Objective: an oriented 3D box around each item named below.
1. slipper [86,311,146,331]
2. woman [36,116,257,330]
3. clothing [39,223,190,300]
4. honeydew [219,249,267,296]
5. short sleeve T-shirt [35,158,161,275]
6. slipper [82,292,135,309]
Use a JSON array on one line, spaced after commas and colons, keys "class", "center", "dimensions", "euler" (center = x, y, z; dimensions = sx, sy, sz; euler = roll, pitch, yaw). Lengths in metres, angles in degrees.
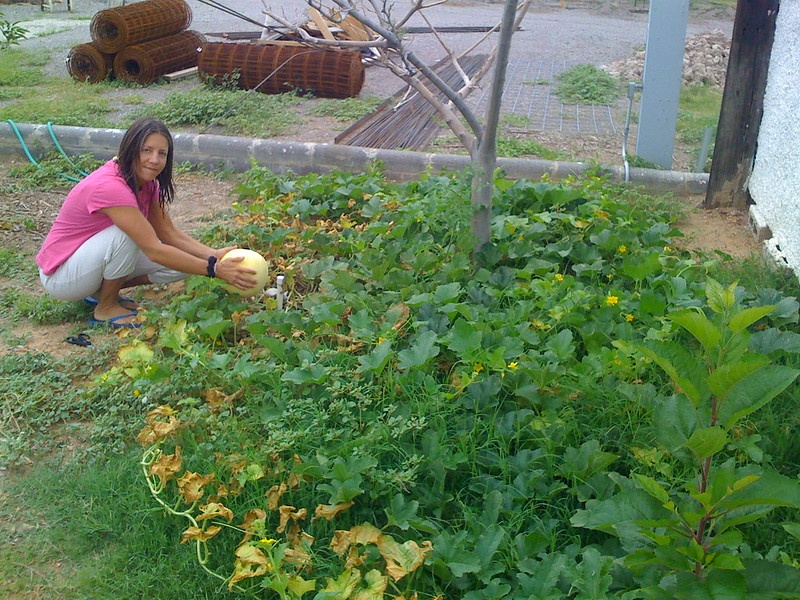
[{"class": "slipper", "center": [-1.869, 0.145, 3.854], "dimensions": [0.315, 0.053, 0.152], "euler": [2, 32, 4]}, {"class": "woman", "center": [-1.624, -0.510, 3.940], "dimensions": [1.500, 1.252, 0.682], "euler": [2, 9, 7]}, {"class": "clothing", "center": [-1.884, -0.282, 4.169], "dimensions": [1.190, 0.407, 0.789], "euler": [-6, 11, -4]}, {"class": "honeydew", "center": [-0.998, -0.228, 3.785], "dimensions": [0.304, 0.288, 0.290], "euler": [-5, 42, -22]}, {"class": "short sleeve T-shirt", "center": [-2.047, -0.541, 3.947], "dimensions": [0.531, 0.701, 0.737], "euler": [7, 8, -38]}, {"class": "slipper", "center": [-1.980, 0.015, 4.041], "dimensions": [0.366, 0.089, 0.139], "euler": [-3, 25, -18]}]
